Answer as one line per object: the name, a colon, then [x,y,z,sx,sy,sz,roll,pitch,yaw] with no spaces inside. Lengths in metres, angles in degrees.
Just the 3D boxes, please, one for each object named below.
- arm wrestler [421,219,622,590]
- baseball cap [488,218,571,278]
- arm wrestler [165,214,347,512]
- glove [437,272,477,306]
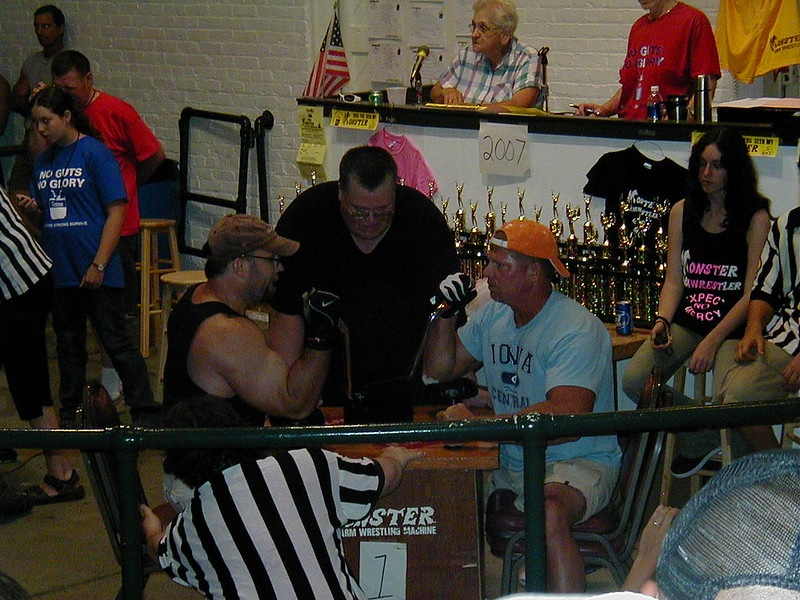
arm wrestler: [0.533,0.318,3.599,0.677,1.609,0.784,2,13,13]
baseball cap: [0.630,-0.263,3.876,0.338,0.191,0.254,16,7,3]
arm wrestler: [-0.633,0.110,3.657,0.585,1.230,0.641,16,22,31]
glove: [0.245,-0.041,3.536,0.167,0.153,0.126,-1,14,-14]
